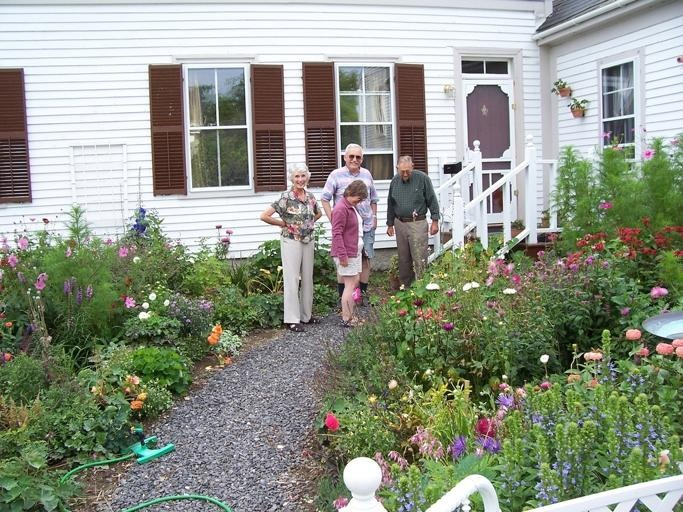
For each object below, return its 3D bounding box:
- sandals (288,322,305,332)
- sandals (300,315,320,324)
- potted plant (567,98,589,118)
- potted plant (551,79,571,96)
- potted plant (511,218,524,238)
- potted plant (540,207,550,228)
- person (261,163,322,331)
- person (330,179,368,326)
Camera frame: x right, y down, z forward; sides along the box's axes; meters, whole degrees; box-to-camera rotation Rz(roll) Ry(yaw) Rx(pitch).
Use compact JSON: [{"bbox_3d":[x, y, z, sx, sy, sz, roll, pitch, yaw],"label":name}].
[{"bbox_3d":[-0.587,0.896,7.381,0.085,0.133,0.272,1,-9,-24],"label":"sandals"},{"bbox_3d":[-0.416,0.824,7.644,0.243,0.122,0.089,4,-2,-8],"label":"sandals"},{"bbox_3d":[4.119,-2.601,10.127,0.278,0.331,0.229,3,-38,5],"label":"potted plant"},{"bbox_3d":[3.944,-2.987,10.447,0.282,0.304,0.306,-1,2,9],"label":"potted plant"},{"bbox_3d":[2.918,-0.483,9.690,0.295,0.246,0.324,-2,6,-3],"label":"potted plant"},{"bbox_3d":[3.631,-0.683,10.372,0.121,0.308,0.643,-1,5,16],"label":"potted plant"},{"bbox_3d":[-0.612,-0.122,7.420,0.433,2.067,0.756,1,5,40],"label":"person"},{"bbox_3d":[0.093,-0.043,7.284,0.466,1.794,0.573,-2,4,-5],"label":"person"}]
